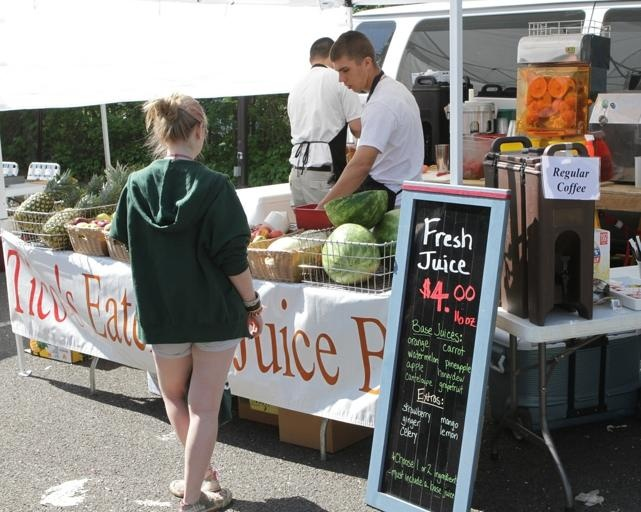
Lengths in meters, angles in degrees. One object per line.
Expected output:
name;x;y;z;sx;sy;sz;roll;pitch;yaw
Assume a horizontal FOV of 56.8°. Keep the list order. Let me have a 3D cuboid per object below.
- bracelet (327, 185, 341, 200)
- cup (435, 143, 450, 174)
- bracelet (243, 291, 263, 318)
bracelet;0.068;-0.385;3.559;0.070;0.099;0.099;4;8;36
cup;0.942;-0.748;4.557;0.091;0.216;0.231;0;14;11
bracelet;-0.315;0.228;2.800;0.071;0.084;0.096;-6;-12;-2
